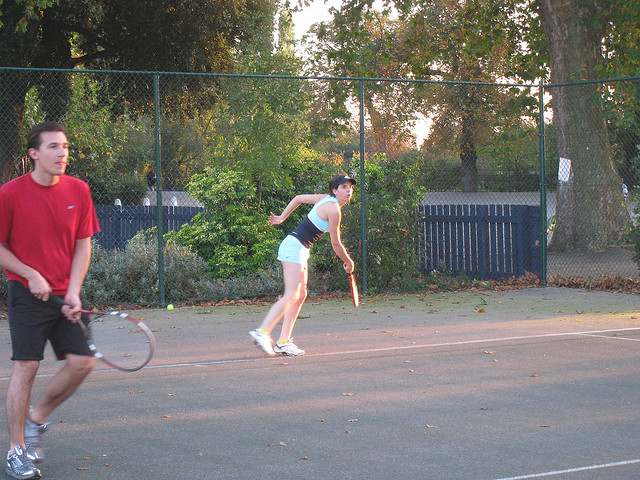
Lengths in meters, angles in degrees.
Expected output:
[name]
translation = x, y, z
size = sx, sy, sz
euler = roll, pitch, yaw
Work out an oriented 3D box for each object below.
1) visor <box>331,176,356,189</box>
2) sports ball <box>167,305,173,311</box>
[visor]
translation = 0.297, -0.781, 10.788
size = 0.244, 0.086, 0.173
euler = -21, -14, 35
[sports ball]
translation = -2.647, 1.192, 14.550
size = 0.093, 0.103, 0.090
euler = 0, 6, 0
